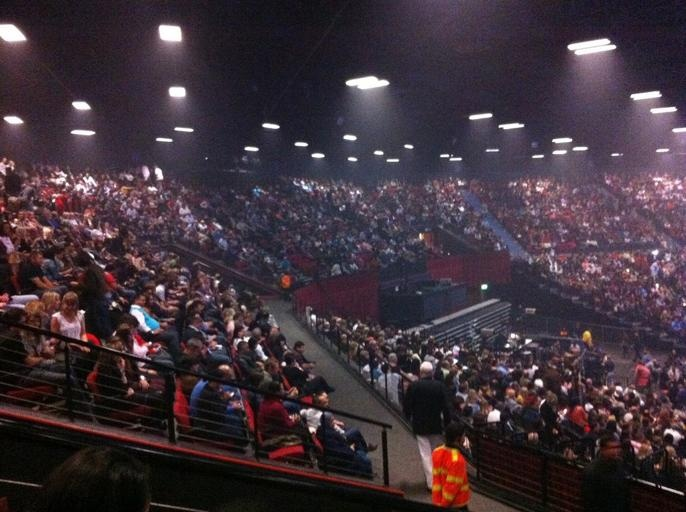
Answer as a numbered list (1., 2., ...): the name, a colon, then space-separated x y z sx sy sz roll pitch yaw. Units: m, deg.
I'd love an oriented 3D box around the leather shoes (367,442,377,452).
1. leather shoes: 0.494 3.156 10.856 0.084 0.115 0.257 0 1 25
